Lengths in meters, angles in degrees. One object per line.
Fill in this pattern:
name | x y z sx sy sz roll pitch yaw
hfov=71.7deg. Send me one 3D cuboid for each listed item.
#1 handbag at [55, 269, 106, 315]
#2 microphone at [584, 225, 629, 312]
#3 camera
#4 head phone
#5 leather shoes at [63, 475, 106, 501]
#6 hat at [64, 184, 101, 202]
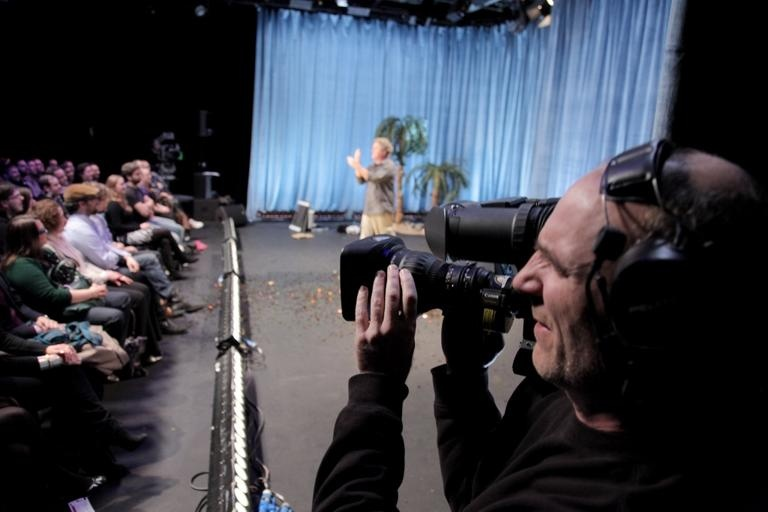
handbag | -2.085 0.240 3.585 0.268 0.279 0.115 16 -33 -36
microphone | 0.442 0.026 1.061 0.036 0.153 0.089 12 4 -31
camera | 0.142 0.077 1.506 0.461 0.248 0.264 10 8 28
head phone | 0.594 -0.064 1.179 0.162 0.426 0.426 -8 7 28
leather shoes | -1.519 1.158 2.705 0.072 0.088 0.210 9 12 28
hat | -2.457 -0.519 4.312 0.197 0.070 0.175 -11 15 -41
